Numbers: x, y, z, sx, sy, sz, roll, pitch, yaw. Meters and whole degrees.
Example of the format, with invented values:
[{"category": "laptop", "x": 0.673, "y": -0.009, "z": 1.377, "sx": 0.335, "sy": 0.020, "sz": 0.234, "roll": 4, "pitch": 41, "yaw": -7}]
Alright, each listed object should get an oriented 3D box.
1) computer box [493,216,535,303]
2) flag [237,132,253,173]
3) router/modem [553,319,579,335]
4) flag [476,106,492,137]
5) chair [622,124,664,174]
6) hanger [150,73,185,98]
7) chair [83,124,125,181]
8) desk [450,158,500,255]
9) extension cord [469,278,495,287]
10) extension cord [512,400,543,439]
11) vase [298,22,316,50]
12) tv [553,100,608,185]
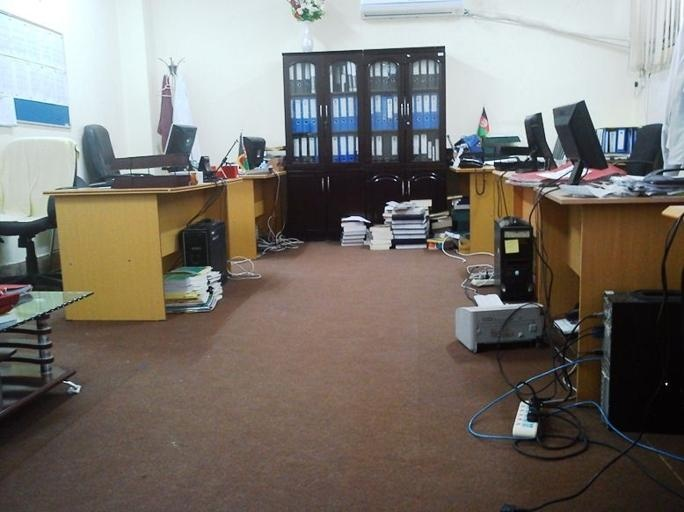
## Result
[{"category": "computer box", "x": 1.081, "y": 0.040, "z": 3.269, "sx": 0.213, "sy": 0.500, "sz": 0.326, "roll": -2, "pitch": -5, "yaw": 41}, {"category": "flag", "x": -0.930, "y": -0.992, "z": 5.260, "sx": 0.127, "sy": 0.302, "sz": 0.475, "roll": -5, "pitch": 14, "yaw": -12}, {"category": "router/modem", "x": 1.024, "y": 0.323, "z": 2.522, "sx": 0.121, "sy": 0.033, "sz": 0.134, "roll": -4, "pitch": 14, "yaw": -9}, {"category": "flag", "x": 1.452, "y": -1.370, "z": 5.626, "sx": 0.134, "sy": 0.288, "sz": 0.484, "roll": 2, "pitch": 14, "yaw": 14}, {"category": "chair", "x": 2.385, "y": -0.846, "z": 4.363, "sx": 0.246, "sy": 0.377, "sz": 0.494, "roll": 5, "pitch": 15, "yaw": 27}, {"category": "hanger", "x": -1.890, "y": -1.884, "z": 6.056, "sx": 0.314, "sy": 0.118, "sz": 0.328, "roll": -2, "pitch": 24, "yaw": -8}, {"category": "chair", "x": -2.325, "y": -0.990, "z": 5.292, "sx": 0.292, "sy": 0.540, "sz": 0.657, "roll": -8, "pitch": 15, "yaw": -26}, {"category": "desk", "x": 1.323, "y": -0.438, "z": 5.079, "sx": 0.549, "sy": 0.815, "sz": 0.856, "roll": -1, "pitch": 12, "yaw": 3}, {"category": "extension cord", "x": 0.942, "y": 0.174, "z": 3.726, "sx": 0.148, "sy": 0.052, "sz": 0.129, "roll": 1, "pitch": 15, "yaw": 12}, {"category": "extension cord", "x": 0.642, "y": 0.585, "z": 1.934, "sx": 0.059, "sy": 0.039, "sz": 0.187, "roll": 0, "pitch": 14, "yaw": 16}, {"category": "vase", "x": -0.368, "y": -2.309, "z": 5.798, "sx": 0.146, "sy": 0.330, "sz": 0.308, "roll": -2, "pitch": 14, "yaw": -3}, {"category": "tv", "x": 1.124, "y": -0.547, "z": 2.625, "sx": 0.225, "sy": 0.369, "sz": 0.379, "roll": 3, "pitch": 14, "yaw": 19}]
